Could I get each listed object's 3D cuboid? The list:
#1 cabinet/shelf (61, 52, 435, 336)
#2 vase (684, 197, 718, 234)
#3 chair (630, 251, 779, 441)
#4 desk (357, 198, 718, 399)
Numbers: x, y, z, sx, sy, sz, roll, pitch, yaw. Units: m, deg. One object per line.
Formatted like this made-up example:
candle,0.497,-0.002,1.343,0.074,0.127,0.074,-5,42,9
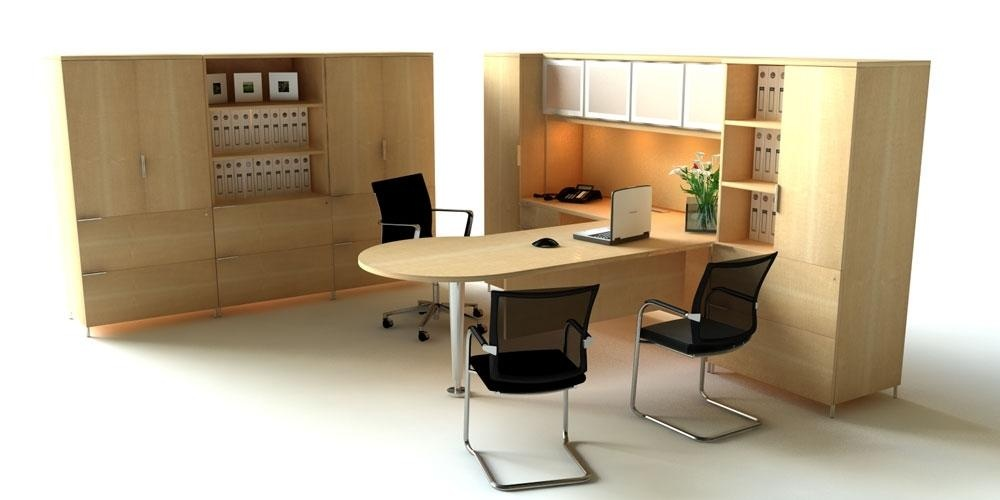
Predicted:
cabinet/shelf,-3.524,-0.741,8.647,4.684,2.521,0.978,-4,8,-30
vase,2.368,-0.394,7.696,0.416,0.303,0.372,-5,14,-20
chair,2.190,0.948,6.838,1.498,1.778,1.156,-18,27,-33
desk,0.117,0.078,7.131,3.613,1.080,2.447,-9,19,-30
